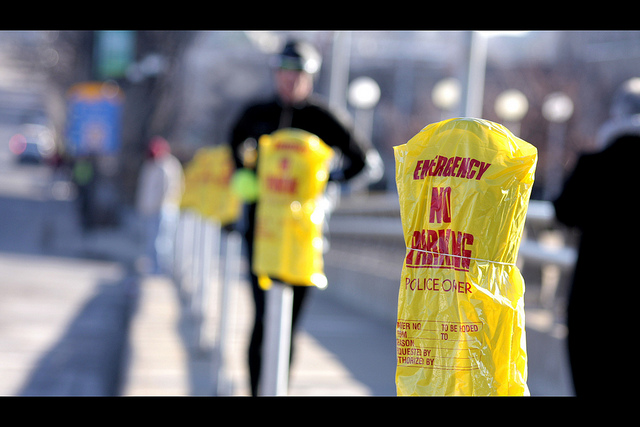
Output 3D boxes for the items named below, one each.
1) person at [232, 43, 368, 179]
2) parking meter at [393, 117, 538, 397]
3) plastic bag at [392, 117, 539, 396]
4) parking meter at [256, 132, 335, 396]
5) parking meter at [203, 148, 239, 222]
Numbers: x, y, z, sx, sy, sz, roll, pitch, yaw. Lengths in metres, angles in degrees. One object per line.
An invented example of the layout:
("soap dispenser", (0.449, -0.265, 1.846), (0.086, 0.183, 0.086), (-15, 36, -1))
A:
("person", (-0.136, -0.615, 5.312), (0.949, 0.758, 0.487), (-1, -13, 25))
("parking meter", (0.674, 0.226, 3.948), (0.605, 1.253, 0.485), (-1, 1, 8))
("plastic bag", (0.652, 0.232, 4.010), (0.606, 1.247, 0.486), (-1, 1, 8))
("parking meter", (-0.171, 0.304, 4.919), (0.482, 1.490, 0.404), (3, 4, 17))
("parking meter", (-0.795, -0.211, 7.237), (0.090, 0.722, 0.571), (8, -17, -25))
